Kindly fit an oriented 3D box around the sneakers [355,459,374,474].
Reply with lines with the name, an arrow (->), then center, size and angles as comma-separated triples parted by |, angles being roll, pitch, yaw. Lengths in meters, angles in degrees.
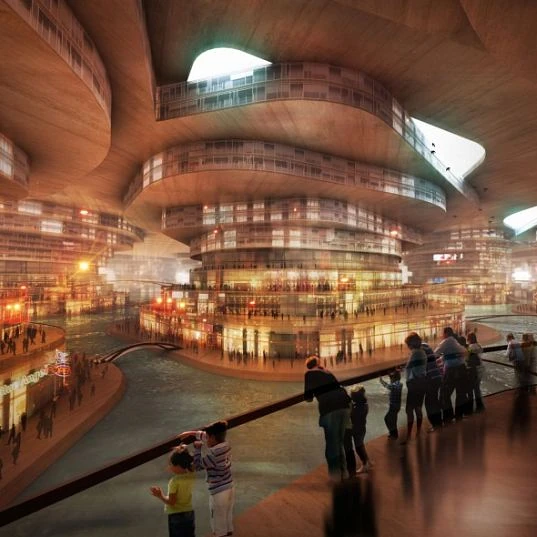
sneakers -> 1.872, 3.795, 8.699 | 0.370, 0.264, 0.138 | -24, -33, 19
